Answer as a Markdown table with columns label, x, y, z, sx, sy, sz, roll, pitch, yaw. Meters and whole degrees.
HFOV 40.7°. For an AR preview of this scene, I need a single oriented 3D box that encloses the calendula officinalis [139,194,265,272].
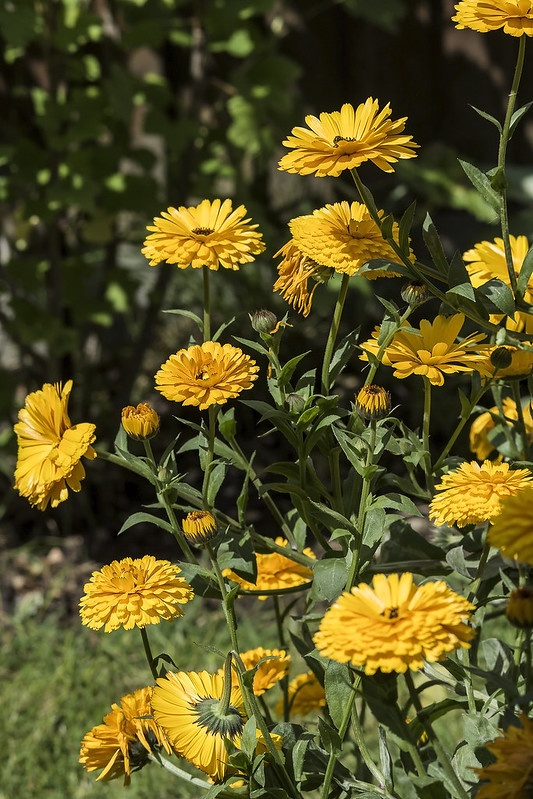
| label | x | y | z | sx | sy | sz | roll | pitch | yaw |
| --- | --- | --- | --- | --- | --- | --- | --- | --- | --- |
| calendula officinalis | -0.054 | -0.173 | 0.739 | 0.112 | 0.039 | 0.112 | 21 | 31 | 24 |

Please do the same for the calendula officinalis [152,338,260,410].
| label | x | y | z | sx | sy | sz | roll | pitch | yaw |
| --- | --- | --- | --- | --- | --- | --- | --- | --- | --- |
| calendula officinalis | -0.059 | -0.014 | 0.659 | 0.077 | 0.033 | 0.070 | -14 | 53 | -11 |
